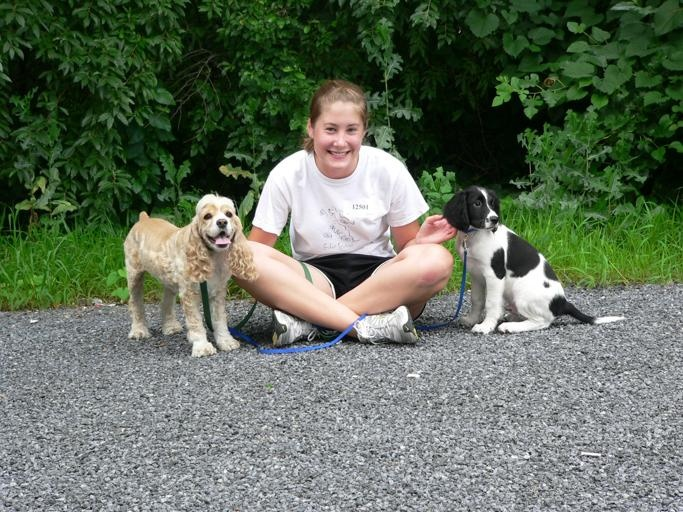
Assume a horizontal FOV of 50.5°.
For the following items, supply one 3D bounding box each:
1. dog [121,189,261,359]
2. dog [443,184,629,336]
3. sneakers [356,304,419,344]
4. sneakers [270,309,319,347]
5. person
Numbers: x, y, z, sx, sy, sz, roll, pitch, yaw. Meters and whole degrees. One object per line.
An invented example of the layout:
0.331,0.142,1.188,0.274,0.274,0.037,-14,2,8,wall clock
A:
-1.007,0.088,4.653,0.996,1.047,0.468,10,16,39,dog
1.259,0.033,4.939,1.176,0.977,0.508,1,0,1,dog
0.295,0.432,4.625,0.338,0.223,0.165,-1,23,21,sneakers
-0.298,0.468,4.671,0.170,0.163,0.300,11,-4,31,sneakers
0.002,-0.264,4.747,1.302,1.665,1.082,0,8,3,person
